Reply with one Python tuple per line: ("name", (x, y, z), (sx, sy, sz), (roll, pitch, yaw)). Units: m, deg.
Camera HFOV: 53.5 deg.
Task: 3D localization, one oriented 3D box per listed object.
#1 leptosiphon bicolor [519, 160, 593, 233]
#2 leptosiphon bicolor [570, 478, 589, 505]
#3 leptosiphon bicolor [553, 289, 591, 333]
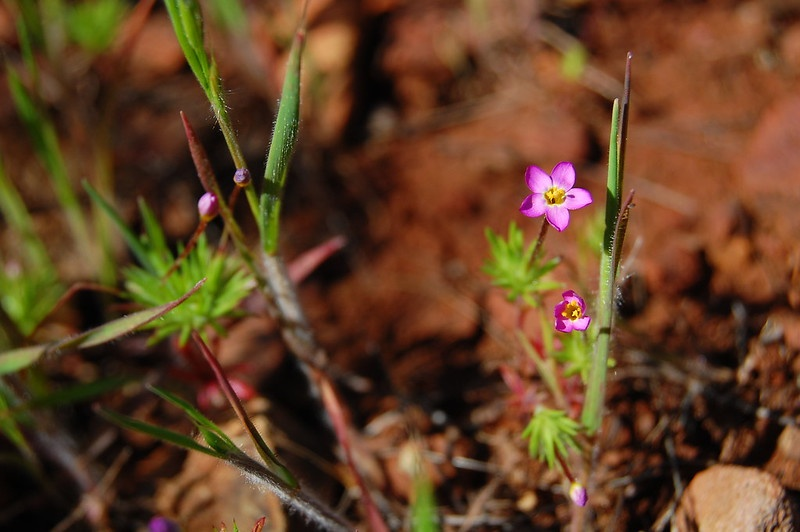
("leptosiphon bicolor", (1.033, -0.493, 5.384), (0.368, 0.176, 0.432), (-2, 23, -38))
("leptosiphon bicolor", (1.184, 1.525, 5.302), (0.099, 0.196, 0.122), (-5, 23, 3))
("leptosiphon bicolor", (1.147, 0.290, 5.295), (0.113, 0.251, 0.281), (3, 53, -47))
